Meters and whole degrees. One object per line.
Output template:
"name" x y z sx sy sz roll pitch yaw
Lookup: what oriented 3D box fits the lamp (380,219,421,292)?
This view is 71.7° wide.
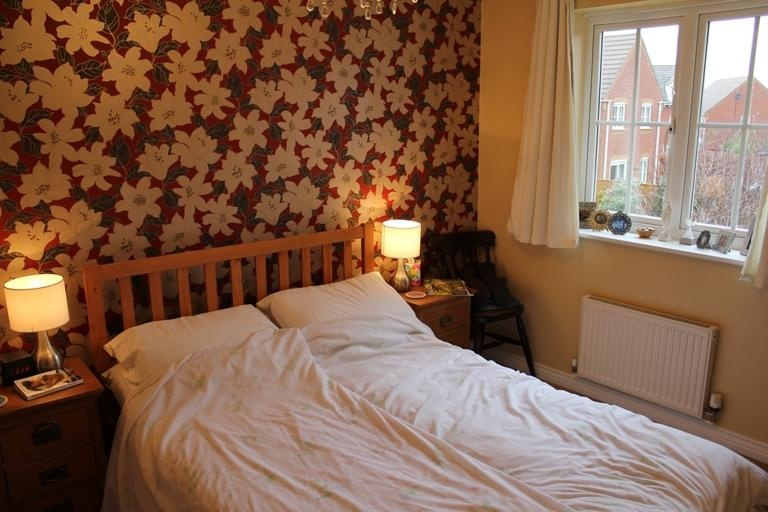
"lamp" 0.144 0.014 4.266 0.304 0.518 0.306 7 10 30

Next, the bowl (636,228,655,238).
"bowl" 1.974 -0.182 3.995 0.086 0.049 0.081 2 14 0

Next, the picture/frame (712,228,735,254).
"picture/frame" 2.364 -0.100 3.684 0.111 0.200 0.144 0 11 -30

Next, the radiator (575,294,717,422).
"radiator" 1.933 0.724 3.825 0.111 0.616 0.806 -11 20 -43

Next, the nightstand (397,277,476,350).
"nightstand" 0.486 0.414 4.372 0.562 0.709 0.452 -16 20 -39
